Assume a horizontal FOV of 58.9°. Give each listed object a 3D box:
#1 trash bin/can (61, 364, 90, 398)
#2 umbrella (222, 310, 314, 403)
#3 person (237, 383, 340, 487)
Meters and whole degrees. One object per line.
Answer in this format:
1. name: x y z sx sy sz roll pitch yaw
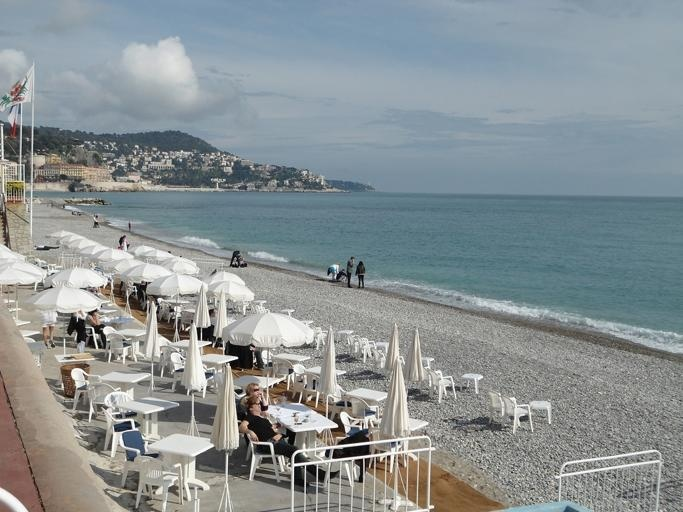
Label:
1. trash bin/can: -5.572 2.593 12.683 0.599 0.561 0.641 3 -1 -20
2. umbrella: -1.640 2.307 13.542 1.996 0.717 1.967 -3 5 -45
3. person: -1.060 3.015 10.052 1.881 1.220 0.877 4 5 39
